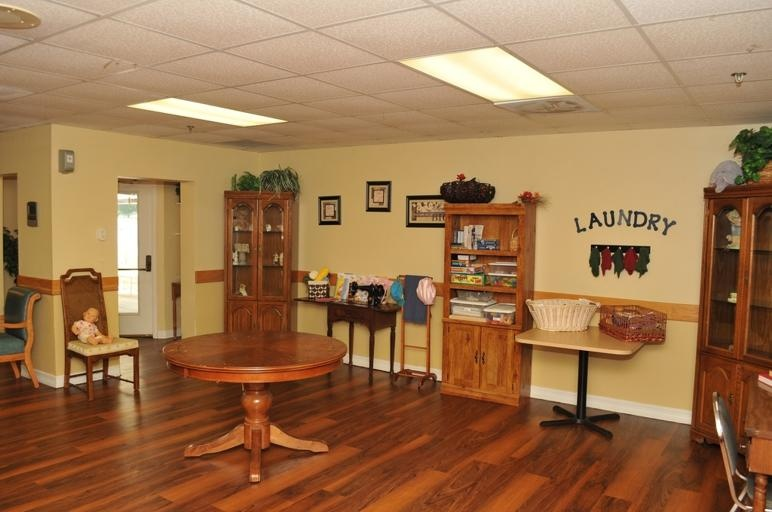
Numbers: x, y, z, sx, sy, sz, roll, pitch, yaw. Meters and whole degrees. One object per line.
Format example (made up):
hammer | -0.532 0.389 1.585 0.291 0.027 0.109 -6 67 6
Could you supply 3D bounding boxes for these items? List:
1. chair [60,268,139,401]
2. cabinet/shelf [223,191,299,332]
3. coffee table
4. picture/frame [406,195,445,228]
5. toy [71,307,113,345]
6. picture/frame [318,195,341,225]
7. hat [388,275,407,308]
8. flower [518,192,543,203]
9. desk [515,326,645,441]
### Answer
chair | -3.569 0.919 6.681 0.767 1.458 0.982 -8 15 -37
cabinet/shelf | -1.872 0.075 7.978 1.021 2.014 0.598 -1 13 -11
coffee table | -1.272 1.261 5.102 1.475 0.809 1.478 3 3 37
picture/frame | 0.548 -0.605 7.362 0.515 0.325 0.021 3 7 33
toy | -3.652 0.879 6.669 0.553 0.396 0.348 -1 -1 43
picture/frame | -0.833 -0.694 8.110 0.501 0.462 0.042 2 4 28
hat | 0.138 0.484 7.516 0.214 0.394 0.326 0 11 -3
flower | 1.713 -0.673 6.580 0.235 0.086 0.219 0 1 -25
desk | 2.110 1.292 5.982 1.288 0.839 1.255 1 1 27
